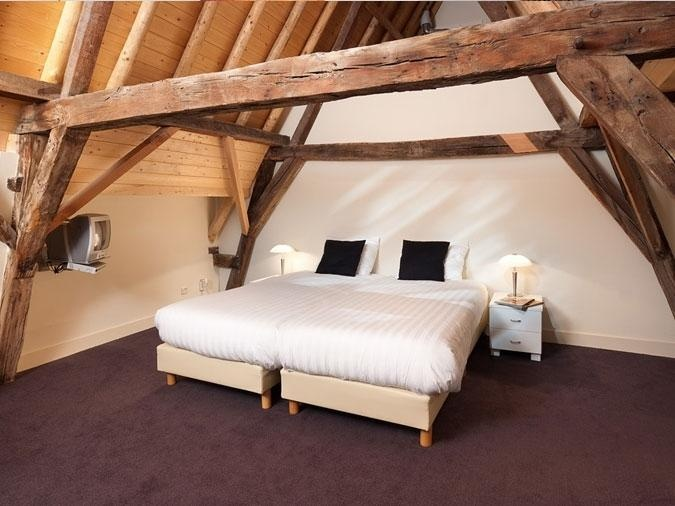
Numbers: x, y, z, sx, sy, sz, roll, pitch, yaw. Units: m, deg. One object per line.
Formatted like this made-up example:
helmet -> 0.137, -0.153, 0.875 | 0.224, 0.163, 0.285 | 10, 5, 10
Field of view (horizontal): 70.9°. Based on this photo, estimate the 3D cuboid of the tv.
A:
tv -> -2.541, -0.142, 4.585 | 0.586, 0.353, 0.421 | -1, 8, -3

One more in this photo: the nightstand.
nightstand -> 1.743, 0.885, 5.071 | 0.633, 0.511, 0.689 | 8, -18, -12

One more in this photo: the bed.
bed -> -0.037, 0.823, 4.821 | 2.799, 1.057, 2.331 | -1, 4, 22

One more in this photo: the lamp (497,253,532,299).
lamp -> 1.920, 0.234, 5.147 | 0.359, 0.446, 0.486 | -1, 4, 19

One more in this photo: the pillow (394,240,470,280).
pillow -> 1.103, 0.077, 5.509 | 0.791, 0.464, 0.410 | -1, 4, 15

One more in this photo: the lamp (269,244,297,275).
lamp -> -0.728, 0.083, 6.447 | 0.350, 0.409, 0.644 | -3, 4, -8

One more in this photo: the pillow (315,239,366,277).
pillow -> 0.056, 0.055, 5.929 | 0.567, 0.464, 0.168 | 4, -19, 38

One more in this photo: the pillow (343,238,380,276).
pillow -> 0.388, 0.041, 5.931 | 0.482, 0.402, 0.132 | 2, -8, -9
